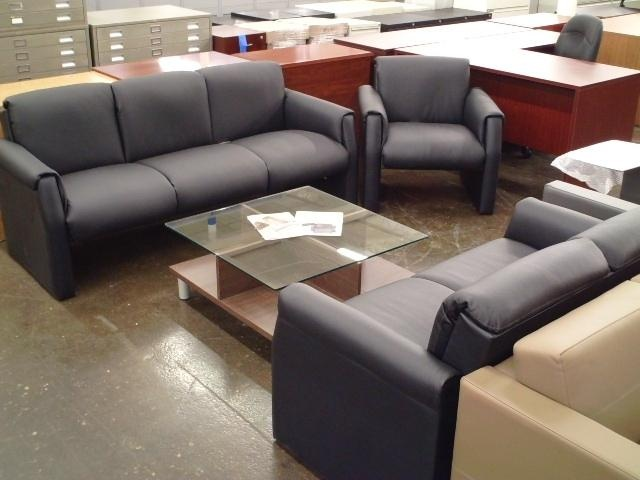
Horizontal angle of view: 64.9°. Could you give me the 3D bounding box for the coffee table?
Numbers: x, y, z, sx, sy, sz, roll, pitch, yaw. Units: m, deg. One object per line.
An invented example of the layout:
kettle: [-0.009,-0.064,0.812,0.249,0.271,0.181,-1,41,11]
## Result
coffee table: [-0.226,0.056,2.721,0.952,0.454,0.984,-23,37,-36]

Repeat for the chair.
chair: [0.737,-0.929,4.429,1.233,1.300,1.293,0,31,1]
